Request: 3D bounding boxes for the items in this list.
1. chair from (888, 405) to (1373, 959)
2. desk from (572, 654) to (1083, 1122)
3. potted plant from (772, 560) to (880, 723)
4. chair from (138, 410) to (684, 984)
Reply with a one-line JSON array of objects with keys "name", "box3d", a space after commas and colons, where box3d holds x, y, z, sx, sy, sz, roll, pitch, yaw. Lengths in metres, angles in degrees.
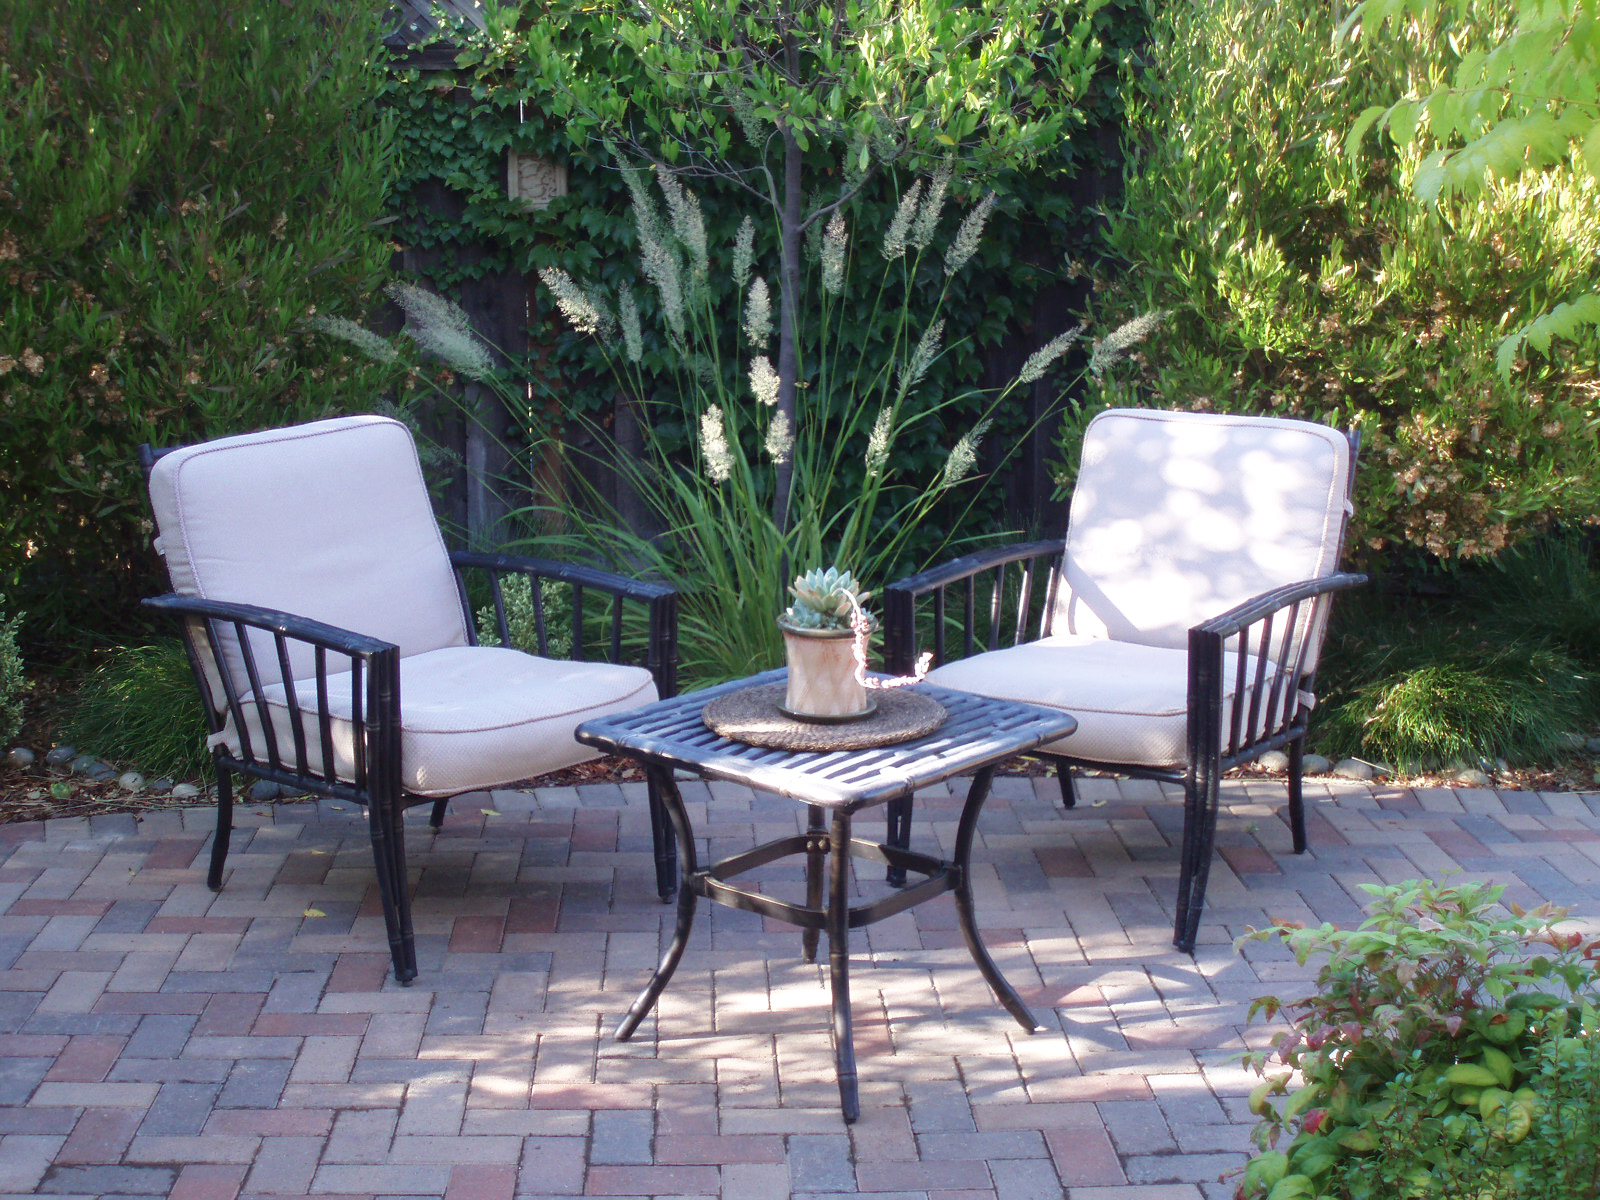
[{"name": "chair", "box3d": [0.955, 0.112, 4.189, 1.086, 1.025, 1.262, 8, 23, 36]}, {"name": "desk", "box3d": [0.006, 0.631, 3.287, 1.095, 0.841, 0.991, 5, 27, 11]}, {"name": "potted plant", "box3d": [0.030, 0.104, 3.253, 0.221, 0.369, 0.274, 0, 28, 0]}, {"name": "chair", "box3d": [-1.177, 0.171, 3.983, 1.363, 1.053, 1.021, 17, 21, 31]}]
